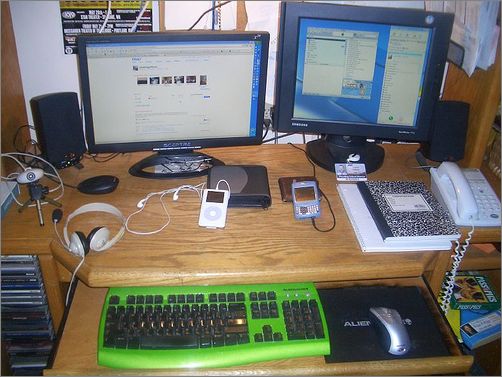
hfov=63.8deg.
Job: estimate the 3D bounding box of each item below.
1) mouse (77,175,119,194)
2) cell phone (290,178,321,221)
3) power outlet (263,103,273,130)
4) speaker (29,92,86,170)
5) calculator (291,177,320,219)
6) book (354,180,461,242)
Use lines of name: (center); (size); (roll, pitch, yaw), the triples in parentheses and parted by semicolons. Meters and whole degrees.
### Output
mouse: (-0.539, -0.015, 1.416); (0.090, 0.026, 0.075); (-8, 26, 2)
cell phone: (0.187, 0.035, 1.372); (0.076, 0.018, 0.130); (-3, 45, 5)
power outlet: (0.074, -0.309, 1.730); (0.034, 0.090, 0.065); (4, 8, -6)
speaker: (-0.683, -0.203, 1.438); (0.177, 0.298, 0.164); (-26, 41, -35)
calculator: (0.184, 0.030, 1.367); (0.102, 0.110, 0.117); (2, 26, 7)
book: (0.518, 0.057, 1.307); (0.193, 0.030, 0.205); (1, 43, -5)
